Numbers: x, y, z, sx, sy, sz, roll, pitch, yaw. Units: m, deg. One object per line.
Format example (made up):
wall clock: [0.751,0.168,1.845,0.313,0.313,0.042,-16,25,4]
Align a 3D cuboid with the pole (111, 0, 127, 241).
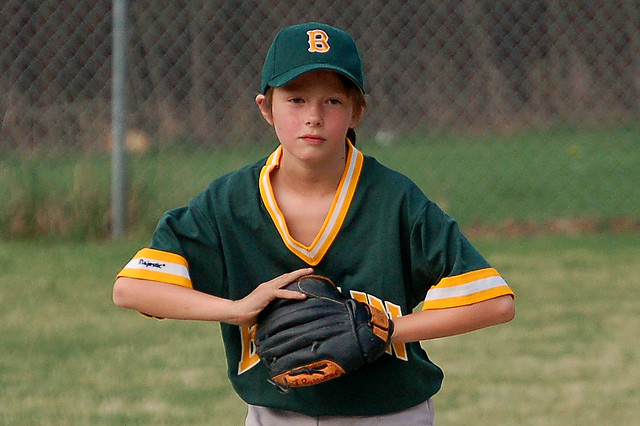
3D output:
pole: [-1.599,-0.738,8.212,0.130,1.892,0.076,-1,1,-21]
